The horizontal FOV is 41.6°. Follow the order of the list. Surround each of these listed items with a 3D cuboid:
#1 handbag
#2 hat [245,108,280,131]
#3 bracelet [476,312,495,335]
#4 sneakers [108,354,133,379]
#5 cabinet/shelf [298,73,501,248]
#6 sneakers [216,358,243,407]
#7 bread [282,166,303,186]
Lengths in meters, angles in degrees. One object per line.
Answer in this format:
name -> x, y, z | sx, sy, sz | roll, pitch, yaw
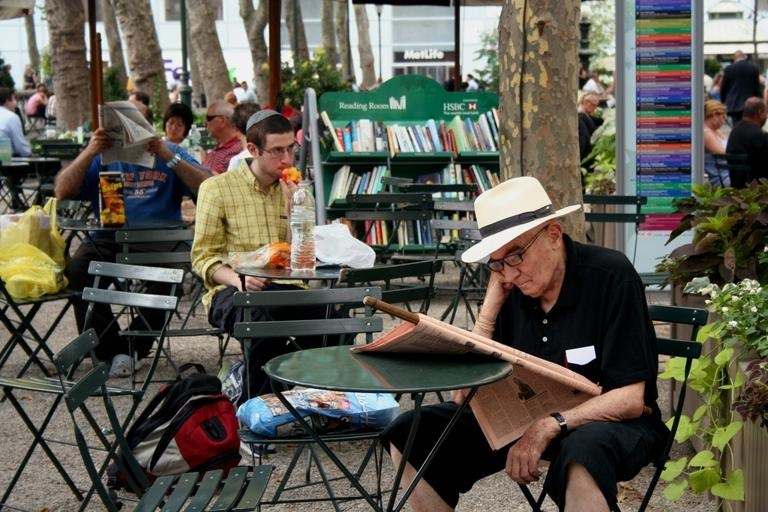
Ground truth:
handbag -> -0.439, 1.035, 6.726 | 1.088, 0.245, 0.406 | -4, 11, -2
hat -> -1.008, -1.100, 8.402 | 0.227, 0.059, 0.238 | -23, 9, 16
bracelet -> 0.655, 0.430, 6.482 | 0.113, 0.122, 0.120 | 1, 11, 8
sneakers -> -2.426, 1.023, 9.337 | 0.230, 0.126, 0.343 | 3, 30, -14
cabinet/shelf -> 0.205, -1.133, 12.283 | 2.177, 2.331, 0.743 | 0, 0, -9
sneakers -> -1.284, 1.022, 8.260 | 0.142, 0.387, 0.253 | 11, -18, -37
bread -> -0.741, -0.667, 8.387 | 0.069, 0.129, 0.155 | 7, -2, 39
